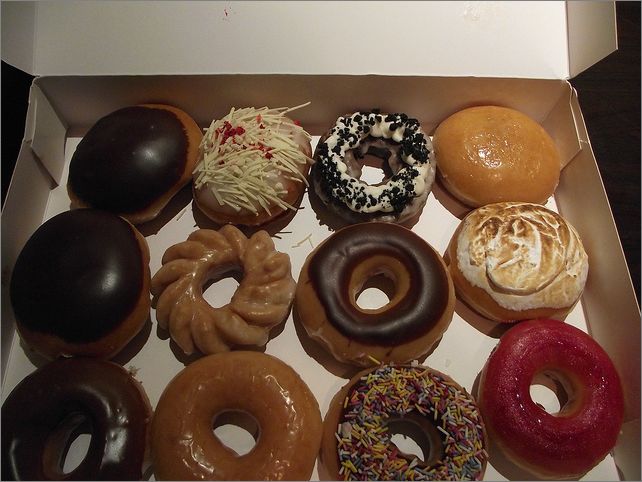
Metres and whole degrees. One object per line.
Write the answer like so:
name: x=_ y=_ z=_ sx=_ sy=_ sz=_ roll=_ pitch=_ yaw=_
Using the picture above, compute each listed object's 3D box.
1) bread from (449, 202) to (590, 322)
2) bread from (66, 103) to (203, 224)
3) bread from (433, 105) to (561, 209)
bread: x=1.205 y=0.121 z=3.112 sx=0.804 sy=0.306 sz=0.657 roll=2 pitch=64 yaw=2
bread: x=-1.172 y=-0.499 z=3.193 sx=0.705 sy=0.232 sz=0.768 roll=44 pitch=83 yaw=9
bread: x=1.103 y=-0.528 z=3.317 sx=0.668 sy=0.348 sz=0.680 roll=-33 pitch=70 yaw=-9
